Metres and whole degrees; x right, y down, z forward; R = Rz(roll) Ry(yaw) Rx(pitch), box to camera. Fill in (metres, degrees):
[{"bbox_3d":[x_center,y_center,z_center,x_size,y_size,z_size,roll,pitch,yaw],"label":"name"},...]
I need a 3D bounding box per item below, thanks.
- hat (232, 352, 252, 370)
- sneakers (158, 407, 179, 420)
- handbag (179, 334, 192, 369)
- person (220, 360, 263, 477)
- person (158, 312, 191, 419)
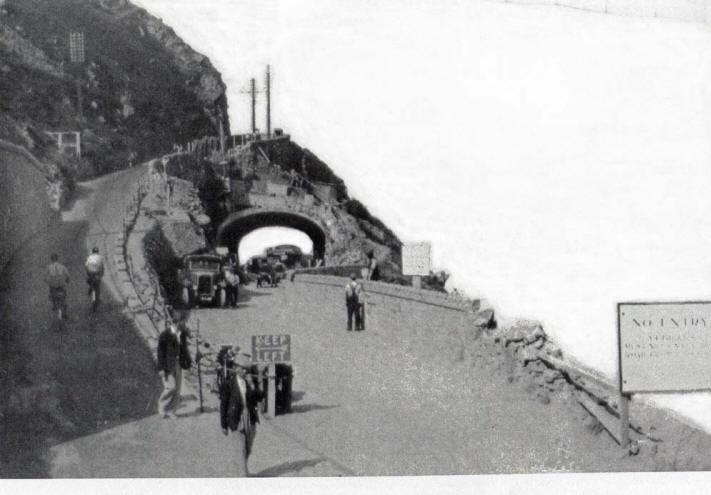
[{"bbox_3d":[-1.656,1.684,13.713,0.255,0.261,0.073,11,-11,-25],"label":"hat"},{"bbox_3d":[-2.761,2.462,13.815,0.228,0.239,0.125,12,2,2],"label":"sneakers"},{"bbox_3d":[-2.484,1.520,13.667,0.253,0.446,0.111,3,-16,-43],"label":"handbag"},{"bbox_3d":[-1.650,2.514,13.391,0.597,1.524,0.825,3,-10,-7],"label":"person"},{"bbox_3d":[-2.679,1.741,13.756,0.461,1.531,0.450,4,-10,-12],"label":"person"}]
